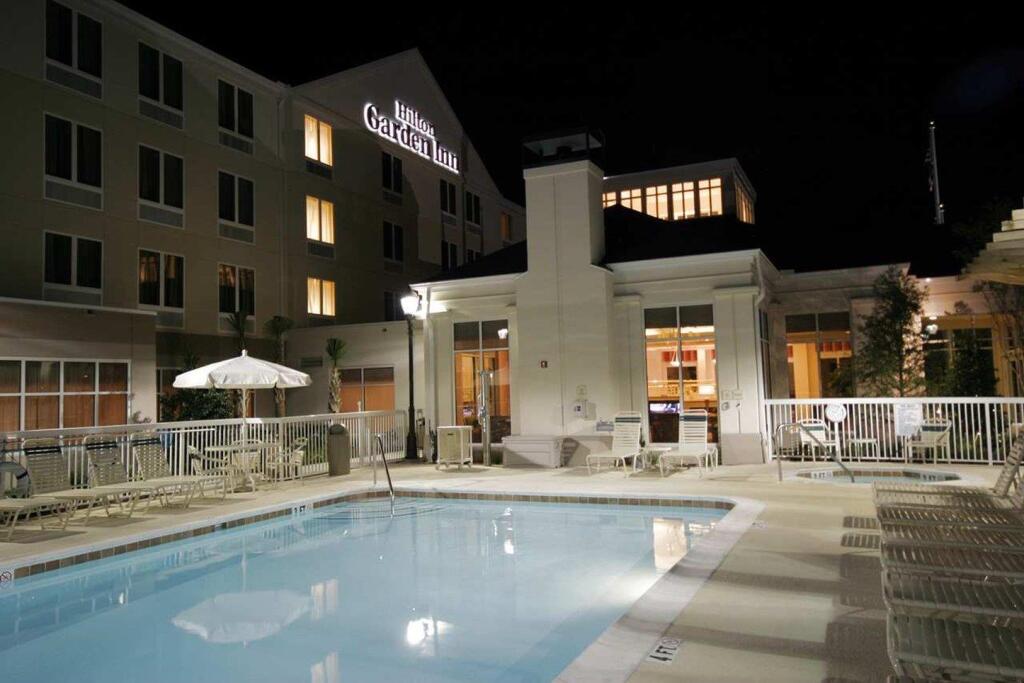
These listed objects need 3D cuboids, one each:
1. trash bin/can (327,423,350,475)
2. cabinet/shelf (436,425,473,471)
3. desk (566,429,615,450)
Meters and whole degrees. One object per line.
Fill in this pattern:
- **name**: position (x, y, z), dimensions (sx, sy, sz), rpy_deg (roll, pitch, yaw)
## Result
- **trash bin/can**: position (-4.799, 2.962, 19.643), dimensions (0.666, 1.382, 0.564), rpy_deg (-6, 7, -13)
- **cabinet/shelf**: position (-1.752, 3.134, 21.257), dimensions (1.148, 1.476, 1.059), rpy_deg (-2, -7, 22)
- **desk**: position (2.429, 2.931, 21.221), dimensions (0.959, 0.491, 0.675), rpy_deg (-2, -10, 20)
